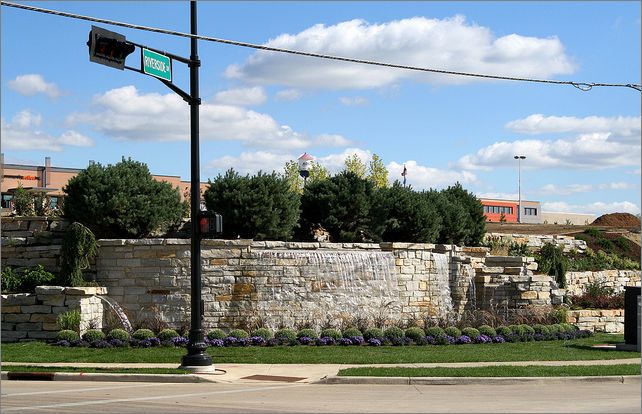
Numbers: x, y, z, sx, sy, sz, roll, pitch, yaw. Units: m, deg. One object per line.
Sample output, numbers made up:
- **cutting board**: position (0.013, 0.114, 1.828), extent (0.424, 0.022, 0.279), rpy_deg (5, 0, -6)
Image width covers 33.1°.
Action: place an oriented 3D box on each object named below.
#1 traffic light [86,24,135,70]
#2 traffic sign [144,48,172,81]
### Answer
- **traffic light**: position (-7.265, -5.565, 37.406), extent (1.470, 1.312, 1.001), rpy_deg (10, -11, -42)
- **traffic sign**: position (-5.843, -5.102, 38.318), extent (0.031, 0.996, 1.449), rpy_deg (-17, -17, 33)
